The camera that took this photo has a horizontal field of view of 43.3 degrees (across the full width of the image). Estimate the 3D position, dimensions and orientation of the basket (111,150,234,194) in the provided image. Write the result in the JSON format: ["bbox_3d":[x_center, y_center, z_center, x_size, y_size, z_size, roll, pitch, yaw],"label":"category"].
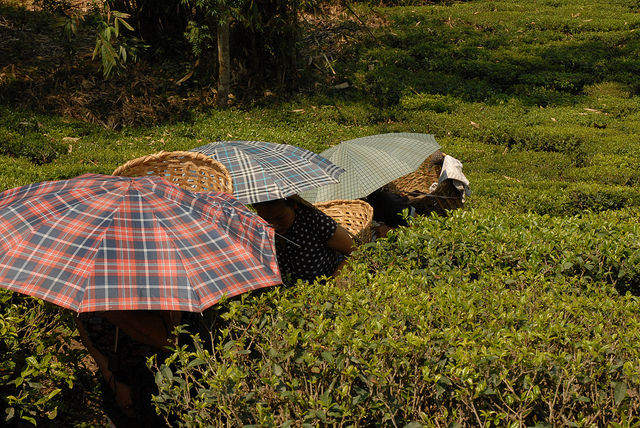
[{"bbox_3d":[-2.135,-0.638,12.166,1.727,0.640,0.562,1,29,4],"label":"basket"}]
